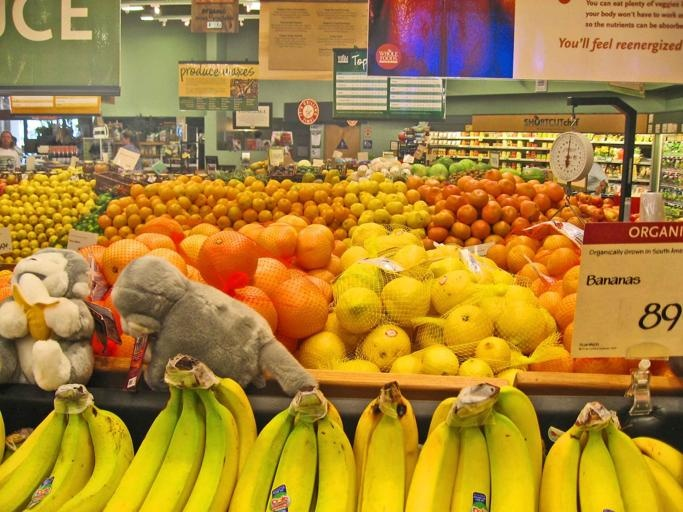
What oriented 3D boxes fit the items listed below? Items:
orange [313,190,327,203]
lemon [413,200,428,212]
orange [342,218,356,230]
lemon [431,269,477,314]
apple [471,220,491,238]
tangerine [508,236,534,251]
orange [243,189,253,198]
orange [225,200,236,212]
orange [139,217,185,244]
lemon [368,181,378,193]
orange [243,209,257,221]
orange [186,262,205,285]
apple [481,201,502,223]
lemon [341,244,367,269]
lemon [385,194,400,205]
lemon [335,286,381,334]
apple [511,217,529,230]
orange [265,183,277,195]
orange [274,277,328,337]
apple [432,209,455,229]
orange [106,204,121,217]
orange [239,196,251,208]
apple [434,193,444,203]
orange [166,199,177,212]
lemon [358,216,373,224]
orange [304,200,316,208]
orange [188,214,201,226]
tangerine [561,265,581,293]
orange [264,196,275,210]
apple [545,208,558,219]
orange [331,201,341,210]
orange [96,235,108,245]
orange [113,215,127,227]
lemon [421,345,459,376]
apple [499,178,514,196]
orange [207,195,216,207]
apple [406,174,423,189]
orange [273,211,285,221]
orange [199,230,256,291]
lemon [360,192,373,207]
[{"bbox_3d":[-0.136,-0.408,4.351,0.070,0.088,0.074,0,4,-8],"label":"orange"},{"bbox_3d":[0.513,-0.329,4.193,0.060,0.091,0.072,-9,-8,-20],"label":"lemon"},{"bbox_3d":[0.048,-0.215,4.163,0.064,0.094,0.067,9,-2,-33],"label":"orange"},{"bbox_3d":[0.457,0.127,2.725,0.185,0.145,0.142,-40,7,13],"label":"lemon"},{"bbox_3d":[0.847,-0.164,3.990,0.092,0.115,0.102,-25,19,-24],"label":"apple"},{"bbox_3d":[0.993,-0.091,3.589,0.083,0.089,0.103,3,33,-38],"label":"tangerine"},{"bbox_3d":[-0.610,-0.419,4.289,0.045,0.057,0.049,6,-10,-21],"label":"orange"},{"bbox_3d":[-0.725,-0.335,4.264,0.052,0.072,0.062,1,43,-17],"label":"orange"},{"bbox_3d":[-0.848,-0.139,3.125,0.160,0.113,0.176,1,2,-18],"label":"orange"},{"bbox_3d":[0.224,-0.489,4.509,0.062,0.103,0.070,0,3,12],"label":"lemon"},{"bbox_3d":[-0.592,-0.272,4.234,0.069,0.082,0.068,19,13,28],"label":"orange"},{"bbox_3d":[-0.586,0.069,2.564,0.030,0.100,0.078,-33,-9,24],"label":"orange"},{"bbox_3d":[0.909,-0.268,3.925,0.109,0.138,0.114,10,-14,-1],"label":"apple"},{"bbox_3d":[0.059,0.004,3.077,0.092,0.139,0.102,1,-3,2],"label":"lemon"},{"bbox_3d":[0.333,-0.381,4.226,0.062,0.098,0.074,-4,4,6],"label":"lemon"},{"bbox_3d":[0.069,0.196,2.536,0.153,0.189,0.164,2,-2,-1],"label":"lemon"},{"bbox_3d":[1.079,-0.198,3.913,0.070,0.105,0.080,0,2,16],"label":"apple"},{"bbox_3d":[-0.478,-0.483,4.425,0.069,0.081,0.075,2,-29,-21],"label":"orange"},{"bbox_3d":[-0.155,0.193,2.448,0.157,0.250,0.126,-20,3,-9],"label":"orange"},{"bbox_3d":[0.629,-0.230,4.020,0.110,0.104,0.098,-2,-32,23],"label":"apple"},{"bbox_3d":[-1.547,-0.318,4.414,0.072,0.105,0.080,1,2,22],"label":"orange"},{"bbox_3d":[-0.627,-0.359,4.220,0.063,0.081,0.071,1,4,-3],"label":"orange"},{"bbox_3d":[0.646,-0.402,4.299,0.058,0.070,0.086,5,44,15],"label":"apple"},{"bbox_3d":[-1.126,-0.347,4.342,0.062,0.086,0.065,8,0,-41],"label":"orange"},{"bbox_3d":[0.151,-0.239,4.126,0.055,0.071,0.072,-1,-22,30],"label":"lemon"},{"bbox_3d":[-0.212,-0.355,4.329,0.055,0.059,0.054,-36,12,-26],"label":"orange"},{"bbox_3d":[-0.970,-0.246,4.305,0.071,0.070,0.068,-22,39,13],"label":"orange"},{"bbox_3d":[0.948,0.096,2.676,0.064,0.095,0.076,-10,35,-8],"label":"tangerine"},{"bbox_3d":[-0.469,-0.355,4.266,0.056,0.071,0.078,-2,-29,0],"label":"orange"},{"bbox_3d":[1.341,-0.275,4.117,0.068,0.101,0.079,-3,0,4],"label":"apple"},{"bbox_3d":[-0.037,-0.346,4.224,0.046,0.056,0.052,-5,27,6],"label":"orange"},{"bbox_3d":[-1.620,-0.112,4.390,0.053,0.068,0.056,-2,-5,0],"label":"orange"},{"bbox_3d":[-1.500,-0.241,4.409,0.070,0.078,0.085,32,-27,-10],"label":"orange"},{"bbox_3d":[0.368,0.395,2.439,0.082,0.103,0.119,-9,-3,-3],"label":"lemon"},{"bbox_3d":[1.097,-0.473,4.295,0.095,0.116,0.100,16,32,38],"label":"apple"},{"bbox_3d":[-0.876,-0.387,4.400,0.062,0.091,0.068,-2,10,0],"label":"orange"},{"bbox_3d":[0.530,-0.543,4.656,0.093,0.118,0.104,-7,4,11],"label":"apple"},{"bbox_3d":[-0.395,-0.261,4.107,0.054,0.076,0.061,-12,-31,23],"label":"orange"},{"bbox_3d":[-0.417,0.011,2.438,0.176,0.246,0.208,-4,40,2],"label":"orange"},{"bbox_3d":[0.163,-0.396,4.352,0.075,0.053,0.097,-13,38,21],"label":"lemon"}]
